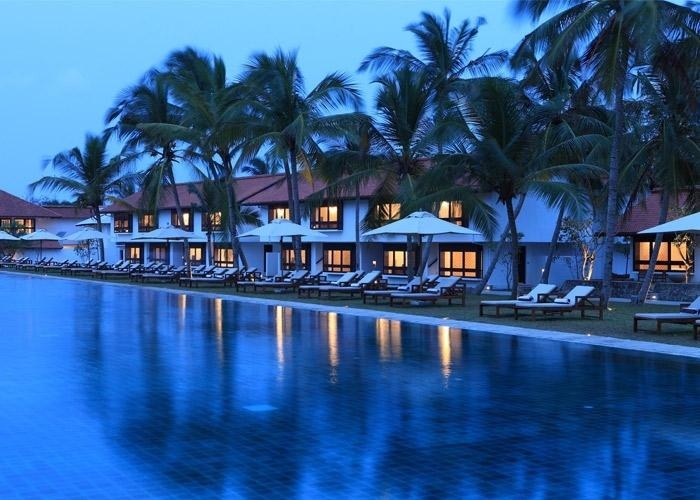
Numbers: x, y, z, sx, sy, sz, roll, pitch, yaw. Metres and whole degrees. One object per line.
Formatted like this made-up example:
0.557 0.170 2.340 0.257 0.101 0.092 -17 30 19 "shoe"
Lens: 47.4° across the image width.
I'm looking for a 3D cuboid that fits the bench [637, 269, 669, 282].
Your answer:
14.077 1.197 37.104 1.356 0.540 3.498 1 -1 15 "bench"
